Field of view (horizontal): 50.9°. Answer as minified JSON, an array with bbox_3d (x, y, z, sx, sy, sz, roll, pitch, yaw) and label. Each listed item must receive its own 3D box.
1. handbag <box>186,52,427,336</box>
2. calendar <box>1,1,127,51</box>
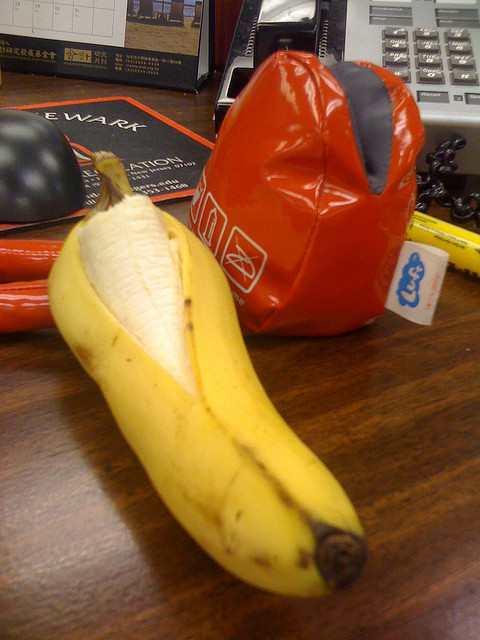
[{"bbox_3d":[0.054,-0.095,0.370,0.147,0.176,0.183,-8,39,-19],"label":"handbag"},{"bbox_3d":[-0.310,-0.462,0.794,0.174,0.089,0.007,5,20,11],"label":"calendar"}]
